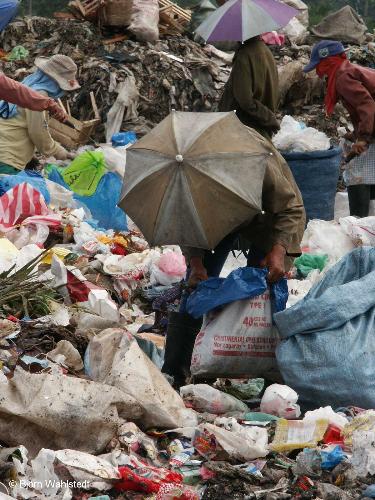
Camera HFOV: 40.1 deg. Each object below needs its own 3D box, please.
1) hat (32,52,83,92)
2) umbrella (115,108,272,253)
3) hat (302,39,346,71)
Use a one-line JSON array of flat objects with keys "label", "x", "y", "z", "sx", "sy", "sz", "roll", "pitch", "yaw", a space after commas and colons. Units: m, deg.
[{"label": "hat", "x": -1.311, "y": -1.857, "z": 5.320, "sx": 0.451, "sy": 0.184, "sz": 0.399, "roll": 24, "pitch": 28, "yaw": -30}, {"label": "umbrella", "x": 0.061, "y": -0.332, "z": 2.513, "sx": 0.779, "sy": 0.645, "sz": 0.360, "roll": -11, "pitch": -12, "yaw": 19}, {"label": "hat", "x": 1.232, "y": -1.818, "z": 4.782, "sx": 0.381, "sy": 0.198, "sz": 0.267, "roll": -17, "pitch": 14, "yaw": 32}]
